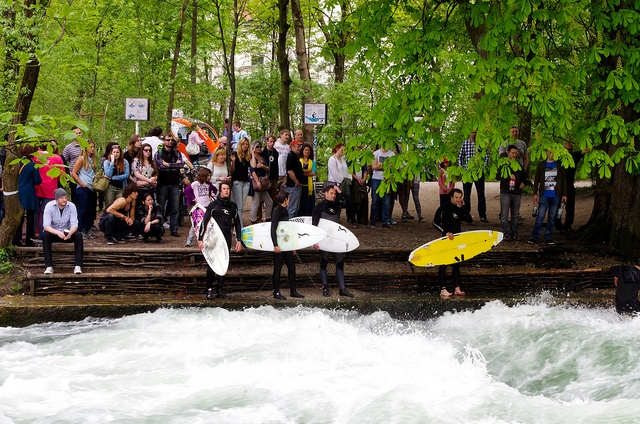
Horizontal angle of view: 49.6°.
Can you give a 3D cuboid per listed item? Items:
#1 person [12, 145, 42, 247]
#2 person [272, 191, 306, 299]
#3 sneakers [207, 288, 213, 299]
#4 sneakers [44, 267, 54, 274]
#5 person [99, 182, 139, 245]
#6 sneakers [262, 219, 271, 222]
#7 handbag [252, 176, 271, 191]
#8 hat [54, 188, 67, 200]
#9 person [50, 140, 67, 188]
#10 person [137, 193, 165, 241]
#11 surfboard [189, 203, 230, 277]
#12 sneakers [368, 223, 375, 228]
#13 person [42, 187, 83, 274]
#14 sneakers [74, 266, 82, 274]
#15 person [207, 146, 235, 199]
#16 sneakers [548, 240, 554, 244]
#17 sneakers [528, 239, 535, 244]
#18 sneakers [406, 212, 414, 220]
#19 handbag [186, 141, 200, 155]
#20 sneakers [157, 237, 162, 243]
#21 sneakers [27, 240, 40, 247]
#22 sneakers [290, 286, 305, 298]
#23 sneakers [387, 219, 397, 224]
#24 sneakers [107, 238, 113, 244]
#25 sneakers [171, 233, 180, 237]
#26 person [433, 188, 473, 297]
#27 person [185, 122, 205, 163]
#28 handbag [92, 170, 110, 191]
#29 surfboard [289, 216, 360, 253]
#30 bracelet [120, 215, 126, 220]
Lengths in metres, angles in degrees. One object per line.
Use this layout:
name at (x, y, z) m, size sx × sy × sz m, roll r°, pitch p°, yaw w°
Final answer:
person at (-7.066, -0.374, 16.634) m, size 0.612 × 2.395 × 1.435 m, roll 0°, pitch 1°, yaw -29°
person at (-0.767, 0.745, 15.863) m, size 0.783 × 2.453 × 0.811 m, roll 0°, pitch 1°, yaw -5°
sneakers at (-2.503, 1.846, 15.593) m, size 0.126 × 0.243 × 0.232 m, roll 0°, pitch 1°, yaw -9°
sneakers at (-6.200, 1.326, 15.752) m, size 0.208 × 0.169 × 0.238 m, roll 0°, pitch 1°, yaw -24°
person at (-4.953, 0.023, 17.320) m, size 0.896 × 1.525 × 0.869 m, roll 6°, pitch 3°, yaw -26°
sneakers at (-1.406, 0.236, 18.303) m, size 0.146 × 0.087 × 0.138 m, roll -1°, pitch -8°, yaw -9°
handbag at (-1.550, -0.732, 17.895) m, size 0.360 × 0.375 × 0.179 m, roll -3°, pitch -2°, yaw -16°
hat at (-6.045, -0.427, 16.053) m, size 0.292 × 0.232 × 0.224 m, roll -5°, pitch -1°, yaw 21°
person at (-5.313, -0.924, 13.943) m, size 0.338 × 1.457 × 0.167 m, roll -7°, pitch -23°, yaw -11°
person at (-4.284, 0.174, 17.387) m, size 0.614 × 1.191 × 0.500 m, roll 0°, pitch 1°, yaw -20°
surfboard at (-2.445, 0.440, 15.721) m, size 0.718 × 2.240 × 0.291 m, roll -13°, pitch -40°, yaw -4°
sneakers at (1.469, 0.388, 19.631) m, size 0.112 × 0.143 × 0.331 m, roll 0°, pitch -6°, yaw 0°
person at (-5.941, 0.440, 15.875) m, size 0.880 × 1.942 × 0.598 m, roll 0°, pitch 1°, yaw -16°
sneakers at (-5.562, 1.331, 15.827) m, size 0.171 × 0.166 × 0.276 m, roll 0°, pitch 1°, yaw -22°
person at (-2.585, -0.733, 17.797) m, size 0.643 × 1.877 × 0.782 m, roll -7°, pitch 21°, yaw -28°
sneakers at (6.073, 0.802, 18.177) m, size 0.198 × 0.109 × 0.252 m, roll 1°, pitch 1°, yaw 13°
sneakers at (5.532, 0.786, 18.054) m, size 0.189 × 0.128 × 0.191 m, roll 1°, pitch 1°, yaw 16°
sneakers at (2.686, 0.124, 20.784) m, size 0.337 × 0.117 × 0.239 m, roll -4°, pitch -36°, yaw -13°
handbag at (-4.099, -2.046, 22.154) m, size 0.491 × 0.493 × 0.267 m, roll 2°, pitch 14°, yaw 11°
sneakers at (-4.057, 0.704, 17.399) m, size 0.123 × 0.137 × 0.126 m, roll -12°, pitch 11°, yaw -3°
sneakers at (-6.991, 0.763, 16.821) m, size 0.270 × 0.095 × 0.267 m, roll -4°, pitch 4°, yaw -28°
sneakers at (-0.485, 1.856, 15.686) m, size 0.383 × 0.257 × 0.150 m, roll 1°, pitch 3°, yaw -9°
sneakers at (2.044, 0.291, 19.780) m, size 0.116 × 0.088 × 0.222 m, roll -1°, pitch 2°, yaw -34°
sneakers at (-5.162, 0.743, 17.006) m, size 0.198 × 0.119 × 0.141 m, roll 0°, pitch 1°, yaw -42°
sneakers at (-3.826, 0.590, 18.180) m, size 0.236 × 0.094 × 0.085 m, roll 3°, pitch 40°, yaw -1°
person at (3.141, 0.758, 16.268) m, size 0.965 × 2.541 × 0.778 m, roll -1°, pitch 5°, yaw -11°
person at (-4.067, -2.041, 22.465) m, size 0.511 × 1.576 × 0.534 m, roll 11°, pitch 16°, yaw 26°
handbag at (-5.537, -0.780, 17.399) m, size 0.412 × 0.547 × 0.269 m, roll 9°, pitch 9°, yaw -7°
surfboard at (0.083, 0.530, 15.736) m, size 2.119 × 0.690 × 0.295 m, roll 15°, pitch -17°, yaw -26°
bracelet at (-4.892, 0.152, 17.119) m, size 0.105 × 0.079 × 0.086 m, roll 0°, pitch 1°, yaw -16°
